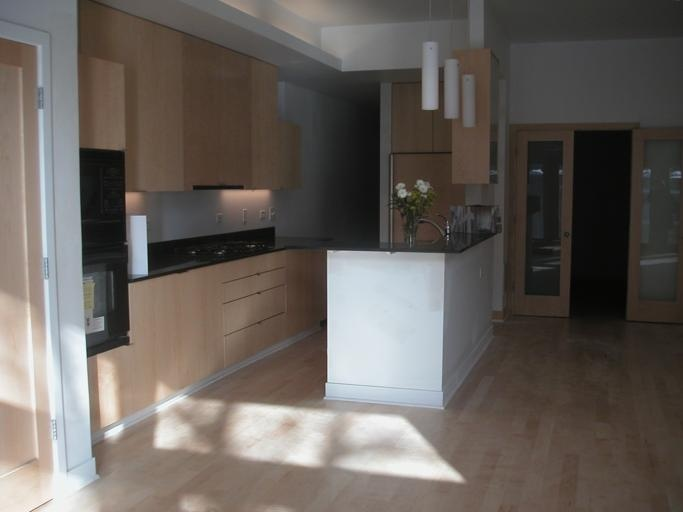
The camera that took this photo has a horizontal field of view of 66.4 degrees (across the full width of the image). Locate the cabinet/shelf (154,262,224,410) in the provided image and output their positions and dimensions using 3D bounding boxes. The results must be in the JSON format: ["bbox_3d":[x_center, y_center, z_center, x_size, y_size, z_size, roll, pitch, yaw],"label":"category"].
[{"bbox_3d":[-1.318,0.679,4.412,0.399,0.955,1.021,3,6,20],"label":"cabinet/shelf"}]

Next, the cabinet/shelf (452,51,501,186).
[{"bbox_3d":[1.292,-1.570,5.474,0.366,1.278,0.714,-3,33,3],"label":"cabinet/shelf"}]

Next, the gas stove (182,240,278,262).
[{"bbox_3d":[-1.210,-0.044,5.321,0.613,0.096,1.134,3,8,27],"label":"gas stove"}]

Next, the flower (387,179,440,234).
[{"bbox_3d":[0.793,-0.518,5.031,0.320,0.462,0.351,3,16,43],"label":"flower"}]

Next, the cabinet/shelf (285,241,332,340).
[{"bbox_3d":[-0.399,0.375,5.969,0.429,0.988,0.959,4,9,27],"label":"cabinet/shelf"}]

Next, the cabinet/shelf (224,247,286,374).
[{"bbox_3d":[-0.905,0.554,5.292,0.386,1.001,1.076,0,6,18],"label":"cabinet/shelf"}]
